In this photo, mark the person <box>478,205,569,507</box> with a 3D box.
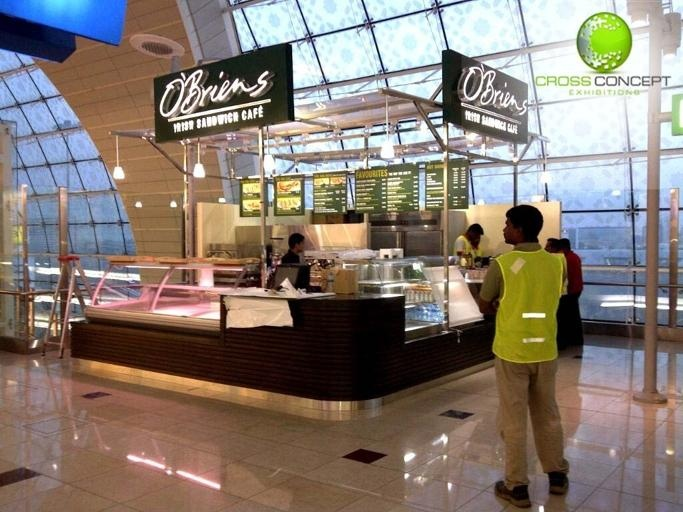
[{"bbox_3d":[1.208,0.605,3.307,0.534,1.885,0.379,-1,1,-33],"label":"person"}]

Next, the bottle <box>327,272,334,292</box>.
[{"bbox_3d":[-0.140,0.266,5.160,0.037,0.192,0.099,-1,1,-37],"label":"bottle"}]

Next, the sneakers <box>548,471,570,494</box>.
[{"bbox_3d":[1.420,1.476,3.276,0.085,0.111,0.189,0,4,25],"label":"sneakers"}]

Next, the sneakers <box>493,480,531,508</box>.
[{"bbox_3d":[1.109,1.497,3.192,0.107,0.133,0.229,0,5,-22],"label":"sneakers"}]

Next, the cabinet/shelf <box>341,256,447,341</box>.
[{"bbox_3d":[0.548,0.398,5.733,0.906,0.979,1.597,-1,1,31],"label":"cabinet/shelf"}]
